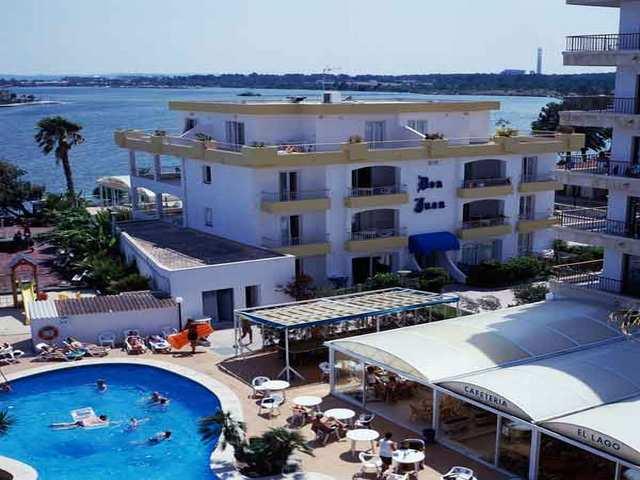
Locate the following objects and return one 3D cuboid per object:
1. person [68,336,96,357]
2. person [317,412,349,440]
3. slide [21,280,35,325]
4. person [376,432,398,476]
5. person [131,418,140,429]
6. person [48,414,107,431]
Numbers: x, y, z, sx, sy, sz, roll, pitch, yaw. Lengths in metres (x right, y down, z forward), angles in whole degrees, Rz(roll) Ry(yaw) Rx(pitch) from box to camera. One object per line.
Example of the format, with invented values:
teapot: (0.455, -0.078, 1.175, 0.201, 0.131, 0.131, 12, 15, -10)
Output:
person: (-12.338, 5.583, 35.822, 1.072, 0.609, 1.595, -8, 12, -22)
person: (0.394, 7.470, 27.876, 1.159, 0.999, 0.961, -24, 45, -29)
slide: (-17.309, 3.786, 41.179, 0.866, 1.380, 2.863, -8, 41, -27)
person: (2.457, 7.786, 25.370, 0.630, 1.288, 1.129, -2, 14, 8)
person: (-7.727, 7.557, 29.000, 0.390, 0.359, 0.704, -7, 12, -13)
person: (-9.935, 7.637, 28.982, 1.521, 0.342, 0.859, -2, 11, -26)
